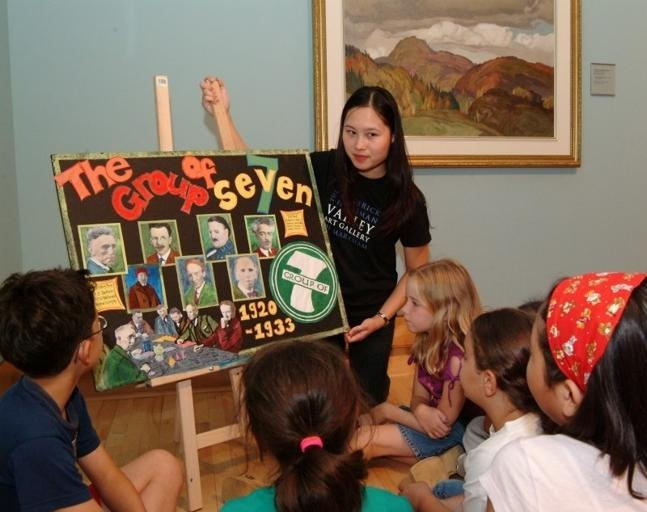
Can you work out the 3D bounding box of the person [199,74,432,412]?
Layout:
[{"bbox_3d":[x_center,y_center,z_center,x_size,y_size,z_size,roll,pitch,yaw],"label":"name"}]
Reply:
[{"bbox_3d":[-0.011,0.162,2.240,0.979,1.927,0.371,15,27,18],"label":"person"}]
